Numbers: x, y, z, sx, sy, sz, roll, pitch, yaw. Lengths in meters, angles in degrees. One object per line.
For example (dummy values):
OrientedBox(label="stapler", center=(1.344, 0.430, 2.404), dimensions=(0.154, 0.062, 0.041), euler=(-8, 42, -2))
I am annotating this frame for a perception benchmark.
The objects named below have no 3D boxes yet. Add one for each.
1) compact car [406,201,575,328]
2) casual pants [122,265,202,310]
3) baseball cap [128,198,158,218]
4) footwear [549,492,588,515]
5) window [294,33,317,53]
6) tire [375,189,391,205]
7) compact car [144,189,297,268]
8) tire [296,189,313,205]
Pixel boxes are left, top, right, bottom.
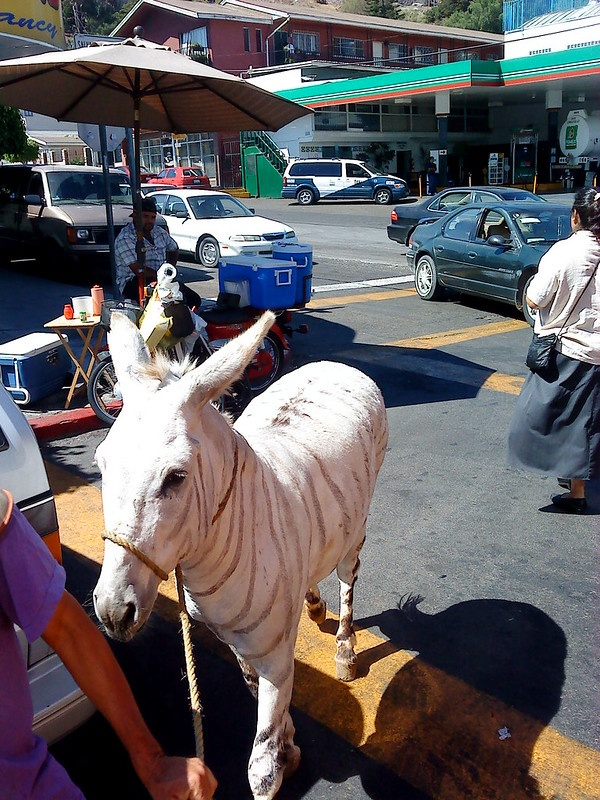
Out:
OrientedBox(label="compact car", center=(3.517, -2.788, 12.394), dimensions=(2.450, 1.866, 4.146), euler=(-14, 23, -32))
OrientedBox(label="casual pants", center=(-1.650, -1.338, 7.373), dimensions=(1.285, 0.453, 0.583), euler=(13, 27, 39))
OrientedBox(label="baseball cap", center=(-1.904, -2.428, 7.605), dimensions=(0.321, 0.280, 0.226), euler=(-5, 29, 12))
OrientedBox(label="footwear", center=(2.133, 0.831, 4.899), dimensions=(0.124, 0.112, 0.287), euler=(-17, 22, -38))
OrientedBox(label="window", center=(0.346, -27.859, 47.355), dimensions=(1.986, 1.210, 0.194), euler=(-24, 37, -37))
OrientedBox(label="tire", center=(4.363, -10.722, 31.911), dimensions=(0.762, 0.749, 0.299), euler=(7, 16, 25))
OrientedBox(label="compact car", center=(-2.232, -4.469, 16.864), dimensions=(2.425, 1.848, 5.653), euler=(-16, 27, -33))
OrientedBox(label="tire", center=(0.303, -11.067, 32.916), dimensions=(0.771, 0.758, 0.297), euler=(7, 11, 24))
